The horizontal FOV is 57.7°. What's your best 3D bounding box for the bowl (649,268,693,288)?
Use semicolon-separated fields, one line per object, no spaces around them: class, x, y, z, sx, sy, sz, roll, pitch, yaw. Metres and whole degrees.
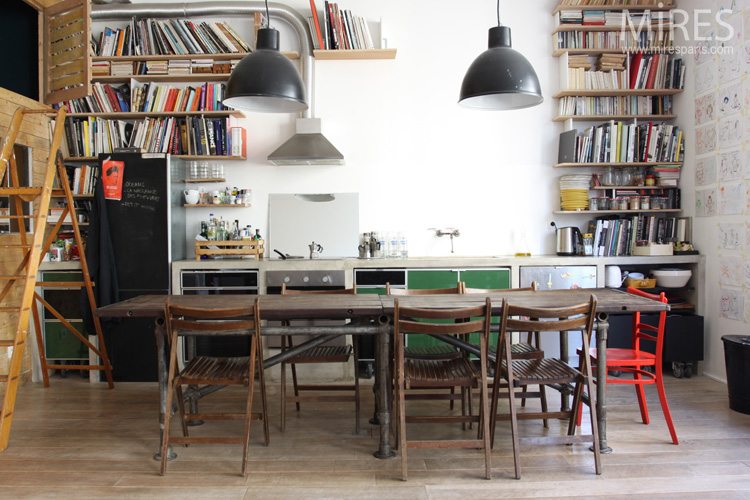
bowl;3.238;0.302;7.394;0.301;0.122;0.263;0;1;4

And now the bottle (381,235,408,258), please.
bottle;0.215;-0.044;7.673;0.276;0.177;0.254;0;-1;0

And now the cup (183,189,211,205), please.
cup;-2.016;-0.598;7.742;0.167;0.117;0.254;-6;-7;45

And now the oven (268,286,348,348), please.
oven;-0.602;0.604;6.134;0.821;0.551;0.420;-1;2;2

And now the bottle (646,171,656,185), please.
bottle;3.098;-0.803;7.672;0.133;0.117;0.123;-1;-3;10

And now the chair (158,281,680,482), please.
chair;0.240;1.056;5.842;4.179;1.388;0.851;0;1;0

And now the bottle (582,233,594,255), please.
bottle;2.368;-0.063;7.576;0.100;0.242;0.161;0;2;20

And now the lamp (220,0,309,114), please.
lamp;-0.935;-1.593;5.956;0.645;0.694;0.537;-2;2;-41

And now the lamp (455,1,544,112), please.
lamp;1.081;-1.745;5.921;0.704;0.980;0.453;0;1;9

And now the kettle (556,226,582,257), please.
kettle;2.186;-0.096;7.654;0.370;0.292;0.258;2;-4;-3

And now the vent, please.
vent;-0.766;-1.173;7.467;0.660;0.335;0.604;-1;4;-4

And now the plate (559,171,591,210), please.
plate;2.252;-0.659;7.711;0.435;0.360;0.398;-1;1;2

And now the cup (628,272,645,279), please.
cup;2.872;0.283;7.503;0.098;0.059;0.096;1;7;0

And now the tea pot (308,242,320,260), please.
tea pot;-0.662;-0.008;7.623;0.167;0.188;0.422;-1;1;-4
